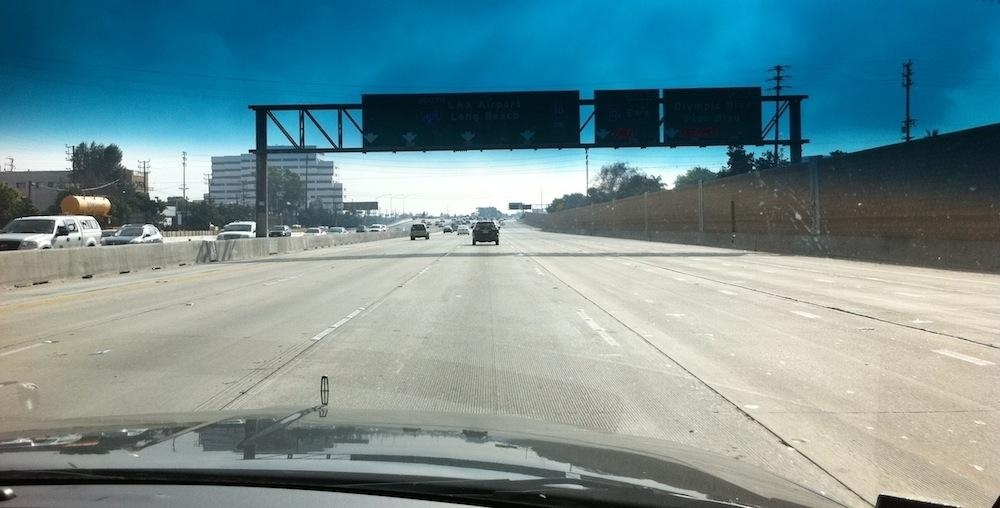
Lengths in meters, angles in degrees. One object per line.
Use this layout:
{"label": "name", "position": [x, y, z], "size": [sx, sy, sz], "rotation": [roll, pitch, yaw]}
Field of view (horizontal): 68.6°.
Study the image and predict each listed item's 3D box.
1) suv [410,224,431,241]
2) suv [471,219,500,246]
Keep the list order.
{"label": "suv", "position": [-9.340, -2.447, 85.552], "size": [1.735, 1.272, 2.777], "rotation": [0, 10, 3]}
{"label": "suv", "position": [-1.261, -1.674, 62.306], "size": [2.096, 1.892, 2.512], "rotation": [-2, 6, -8]}
